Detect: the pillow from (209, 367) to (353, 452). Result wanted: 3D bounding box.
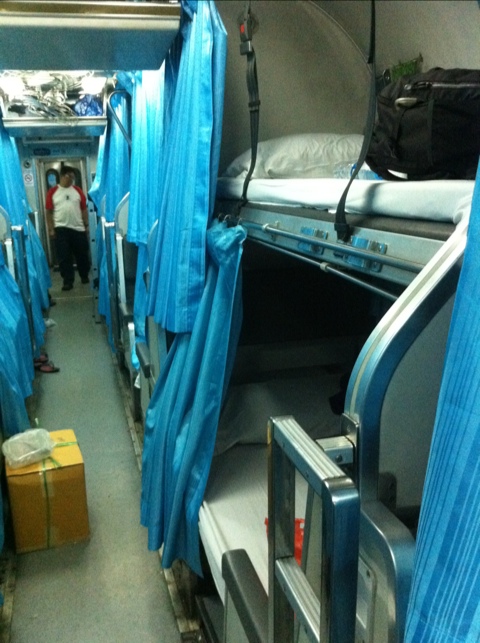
[{"bbox_3d":[0.189,0.421,2.658,0.434,0.105,0.345,0,40,-15],"label":"pillow"}]

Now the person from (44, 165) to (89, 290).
[{"bbox_3d":[-2.662,-1.394,8.705,0.580,1.966,0.951,-4,13,-19],"label":"person"}]

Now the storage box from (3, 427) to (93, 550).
[{"bbox_3d":[-0.998,0.888,3.074,0.355,0.692,0.584,-5,19,-12],"label":"storage box"}]

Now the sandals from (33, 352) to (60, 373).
[{"bbox_3d":[-1.875,0.418,5.447,0.117,0.196,0.358,-17,14,-36],"label":"sandals"}]
